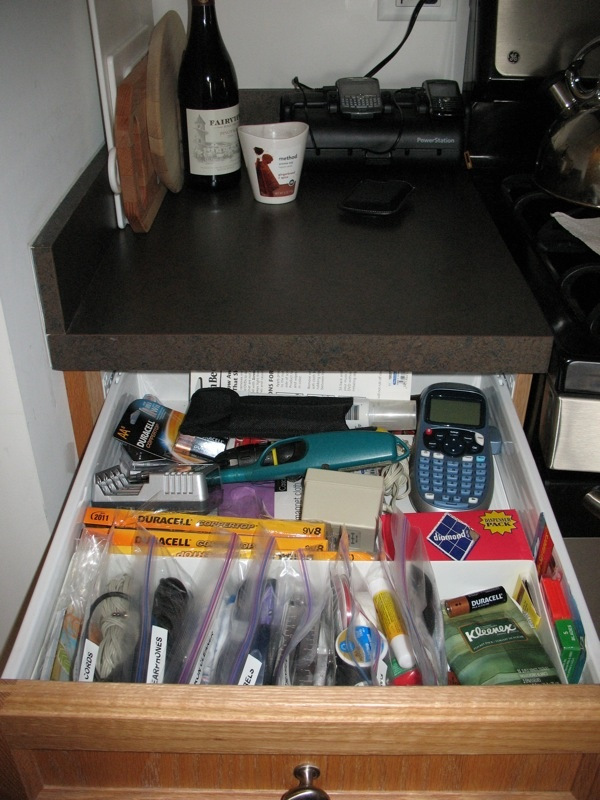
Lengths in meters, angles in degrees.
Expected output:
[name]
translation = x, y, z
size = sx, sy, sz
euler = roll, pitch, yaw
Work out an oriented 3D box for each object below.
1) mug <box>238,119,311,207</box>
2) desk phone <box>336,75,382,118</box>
[mug]
translation = -0.036, -0.353, 0.839
size = 0.095, 0.114, 0.088
euler = -6, 47, -4
[desk phone]
translation = 0.095, -0.490, 0.937
size = 0.070, 0.050, 0.092
euler = -2, 33, 3
